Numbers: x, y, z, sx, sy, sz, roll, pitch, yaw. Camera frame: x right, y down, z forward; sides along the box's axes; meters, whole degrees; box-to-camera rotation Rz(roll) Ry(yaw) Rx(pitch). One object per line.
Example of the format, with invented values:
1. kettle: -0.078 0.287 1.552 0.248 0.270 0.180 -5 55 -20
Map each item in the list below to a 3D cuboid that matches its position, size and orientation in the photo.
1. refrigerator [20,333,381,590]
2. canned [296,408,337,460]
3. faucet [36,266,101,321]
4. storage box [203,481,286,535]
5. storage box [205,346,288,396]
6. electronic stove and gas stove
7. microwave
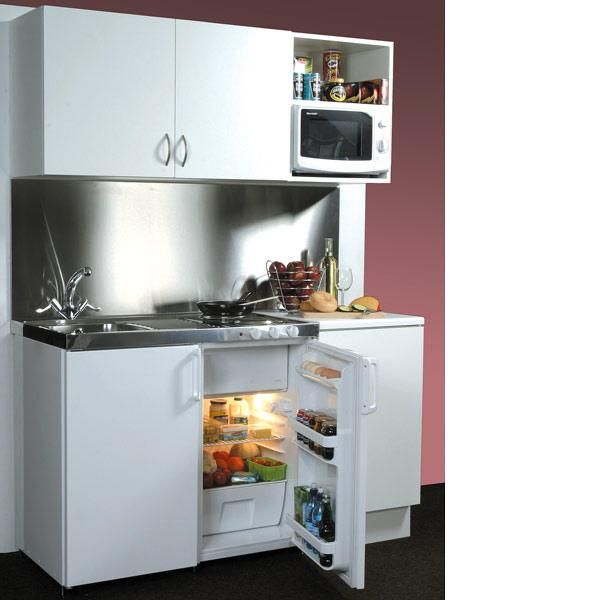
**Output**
1. refrigerator: -0.472 0.469 2.384 1.163 0.769 1.104 0 1 -18
2. canned: 0.064 0.471 2.118 0.099 0.140 0.102 -3 7 -36
3. faucet: -0.933 -0.019 2.455 0.244 0.209 0.201 -3 7 -28
4. storage box: -0.284 0.837 2.595 0.394 0.187 0.277 1 5 -28
5. storage box: -0.213 0.292 2.452 0.302 0.163 0.213 1 -2 -25
6. electronic stove and gas stove: -0.368 0.040 2.458 0.900 0.166 0.549 0 8 -28
7. microwave: 0.138 -0.689 2.787 0.473 0.313 0.316 -1 9 -24
